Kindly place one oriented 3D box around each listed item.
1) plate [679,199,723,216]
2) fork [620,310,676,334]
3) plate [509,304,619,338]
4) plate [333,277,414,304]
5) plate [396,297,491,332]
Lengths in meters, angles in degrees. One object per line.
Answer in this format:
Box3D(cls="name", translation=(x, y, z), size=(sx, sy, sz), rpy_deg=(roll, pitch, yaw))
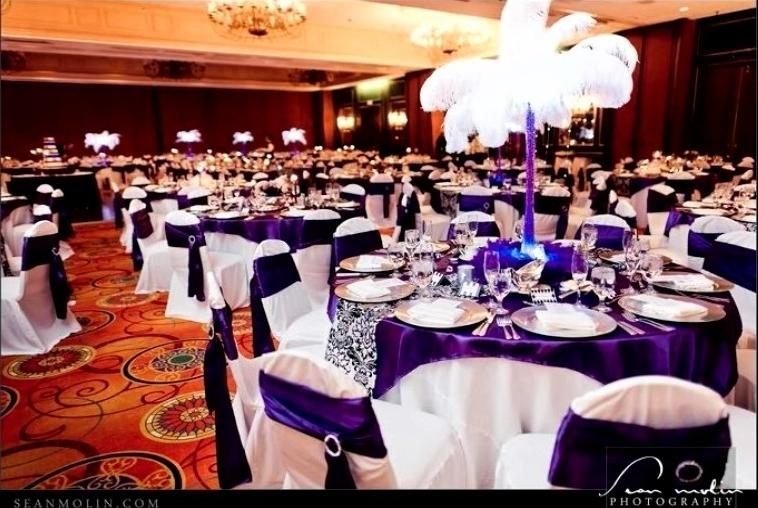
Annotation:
Box3D(cls="plate", translation=(3.121, -0.433, 5.202), size=(0.269, 0.055, 0.309), rpy_deg=(-4, 15, 7))
Box3D(cls="fork", translation=(1.423, 0.358, 2.835), size=(0.192, 0.026, 0.030), rpy_deg=(27, 63, 31))
Box3D(cls="plate", translation=(0.978, 0.345, 2.866), size=(0.536, 0.099, 0.300), rpy_deg=(1, 15, 13))
Box3D(cls="plate", translation=(-0.028, 0.212, 3.239), size=(0.479, 0.085, 0.314), rpy_deg=(-6, 15, -13))
Box3D(cls="plate", translation=(0.341, 0.318, 2.985), size=(0.515, 0.077, 0.329), rpy_deg=(-2, 15, 2))
